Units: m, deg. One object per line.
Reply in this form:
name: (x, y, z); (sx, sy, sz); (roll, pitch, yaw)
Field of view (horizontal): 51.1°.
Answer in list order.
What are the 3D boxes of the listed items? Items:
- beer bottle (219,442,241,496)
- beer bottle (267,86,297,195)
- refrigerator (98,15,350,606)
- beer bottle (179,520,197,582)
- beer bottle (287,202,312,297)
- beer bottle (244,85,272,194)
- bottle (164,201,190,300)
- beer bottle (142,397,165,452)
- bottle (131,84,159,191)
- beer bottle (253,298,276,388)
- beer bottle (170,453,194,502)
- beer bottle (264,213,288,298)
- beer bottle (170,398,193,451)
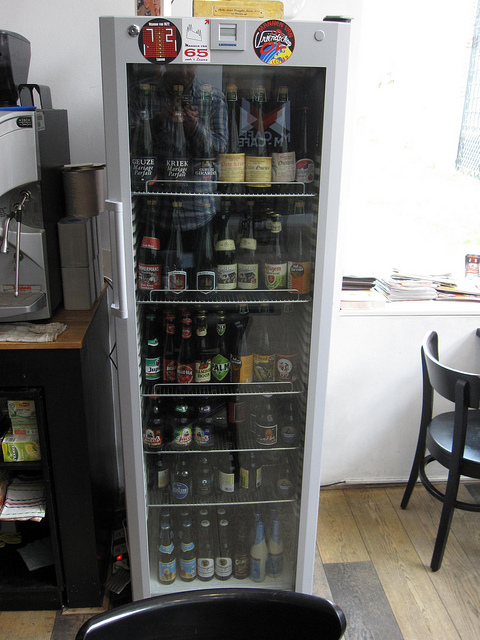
beer bottle: (-0.028, 0.454, 1.587); (0.066, 0.224, 0.071); (0, 29, 0)
beer bottle: (0.106, -0.454, 1.232); (0.073, 0.219, 0.028); (0, 18, -5)
refrigerator: (-0.048, 0.015, 1.533); (0.541, 1.687, 0.471); (0, 8, 0)
beer bottle: (-0.166, 0.747, 1.623); (0.055, 0.209, 0.059); (0, 16, 0)
beer bottle: (0.159, -0.188, 1.330); (0.064, 0.223, 0.052); (-3, 20, -5)
beer bottle: (0.044, -0.435, 1.238); (0.064, 0.226, 0.066); (-1, 22, 0)
bottle: (-0.164, -0.192, 1.311); (0.064, 0.227, 0.055); (-1, 19, -7)
beer bottle: (-0.249, 0.305, 1.475); (0.077, 0.160, 0.080); (0, -1, 0)
bottle: (-0.227, -0.425, 1.179); (0.061, 0.235, 0.024); (-7, 20, -24)
beer bottle: (0.065, 0.079, 1.446); (0.046, 0.218, 0.076); (0, 17, -2)
beer bottle: (-0.181, 0.483, 1.583); (0.072, 0.181, 0.074); (0, 7, 0)
beer bottle: (0.094, -0.172, 1.350); (0.056, 0.217, 0.057); (0, 21, 0)
beer bottle: (-0.172, 0.295, 1.505); (0.083, 0.182, 0.089); (2, 22, -1)
